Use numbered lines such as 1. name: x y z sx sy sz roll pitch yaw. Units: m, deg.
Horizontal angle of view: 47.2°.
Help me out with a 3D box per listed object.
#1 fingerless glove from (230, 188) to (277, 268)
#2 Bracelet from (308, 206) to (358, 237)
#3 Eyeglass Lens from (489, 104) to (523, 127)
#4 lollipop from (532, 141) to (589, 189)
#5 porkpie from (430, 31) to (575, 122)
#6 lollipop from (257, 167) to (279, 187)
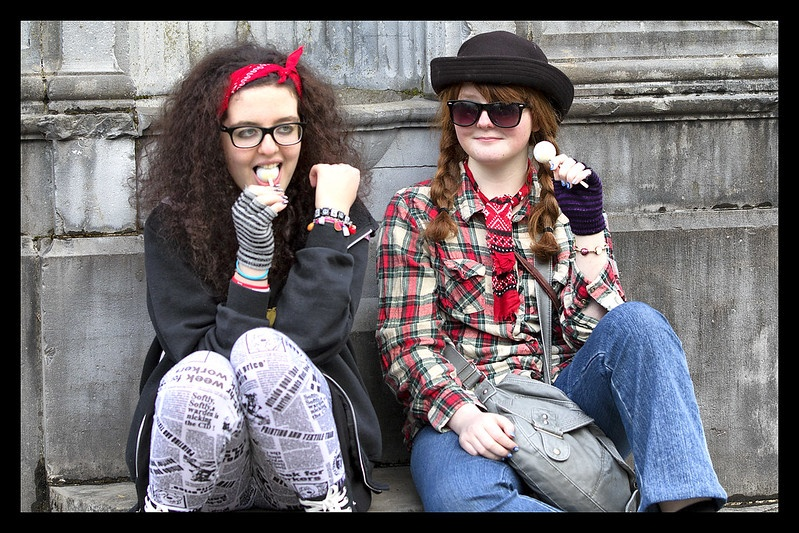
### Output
1. fingerless glove: -0.618 -0.161 3.938 0.249 0.307 0.129 3 10 1
2. Bracelet: -0.293 -0.197 4.070 0.148 0.057 0.148 25 -8 16
3. Eyeglass Lens: 0.475 -0.704 4.271 0.128 0.051 0.127 0 3 4
4. lollipop: 0.701 -0.523 4.328 0.137 0.325 0.132 -35 -27 -21
5. porkpie: 0.468 -0.977 4.531 0.744 0.245 0.605 4 1 16
6. lollipop: -0.572 -0.400 4.095 0.092 0.084 0.044 -12 -6 0
